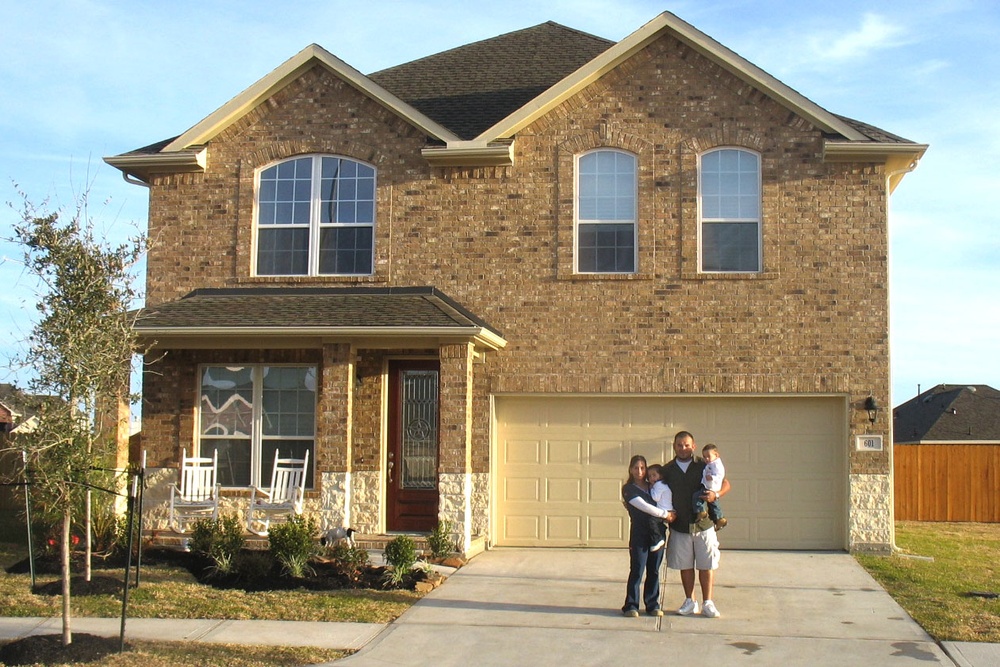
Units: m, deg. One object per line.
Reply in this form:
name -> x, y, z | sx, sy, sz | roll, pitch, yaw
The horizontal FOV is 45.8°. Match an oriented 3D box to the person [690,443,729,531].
person -> 3.506, 2.557, 20.065 | 0.623, 1.376, 0.336 | 2, -6, -10

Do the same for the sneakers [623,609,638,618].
sneakers -> 2.214, 4.678, 19.971 | 0.247, 0.120, 0.152 | 1, -6, -1

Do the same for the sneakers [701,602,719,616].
sneakers -> 3.562, 4.597, 20.003 | 0.297, 0.269, 0.193 | 2, -6, -17

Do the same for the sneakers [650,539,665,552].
sneakers -> 2.653, 3.536, 19.994 | 0.273, 0.197, 0.096 | 4, -7, -30

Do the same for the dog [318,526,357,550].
dog -> -3.058, 3.823, 22.403 | 0.626, 0.355, 0.911 | 1, -6, -9
